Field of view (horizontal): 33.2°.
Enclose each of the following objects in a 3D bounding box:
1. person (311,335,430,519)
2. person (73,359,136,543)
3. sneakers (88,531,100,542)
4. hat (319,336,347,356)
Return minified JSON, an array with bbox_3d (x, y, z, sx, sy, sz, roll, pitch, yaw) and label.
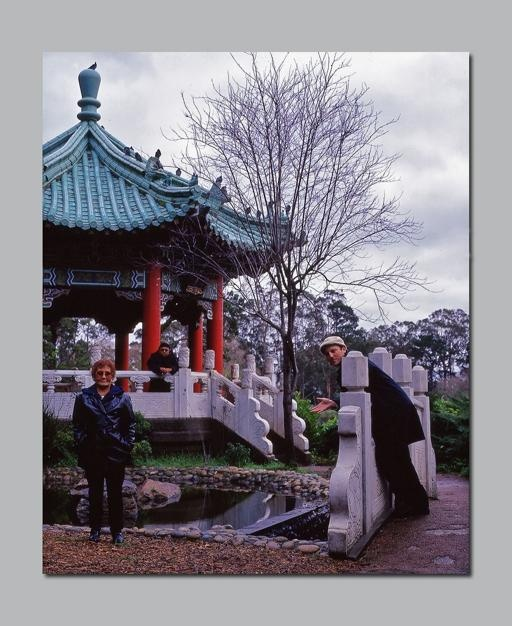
[{"bbox_3d":[1.041,1.015,7.100,1.196,1.659,0.550,-8,12,-31],"label":"person"},{"bbox_3d":[-1.187,1.122,6.768,0.475,1.461,0.382,-4,10,-13],"label":"person"},{"bbox_3d":[-1.296,1.783,6.854,0.041,0.061,0.137,2,-32,-6],"label":"sneakers"},{"bbox_3d":[0.664,0.260,7.027,0.135,0.082,0.192,-20,-21,35],"label":"hat"}]
